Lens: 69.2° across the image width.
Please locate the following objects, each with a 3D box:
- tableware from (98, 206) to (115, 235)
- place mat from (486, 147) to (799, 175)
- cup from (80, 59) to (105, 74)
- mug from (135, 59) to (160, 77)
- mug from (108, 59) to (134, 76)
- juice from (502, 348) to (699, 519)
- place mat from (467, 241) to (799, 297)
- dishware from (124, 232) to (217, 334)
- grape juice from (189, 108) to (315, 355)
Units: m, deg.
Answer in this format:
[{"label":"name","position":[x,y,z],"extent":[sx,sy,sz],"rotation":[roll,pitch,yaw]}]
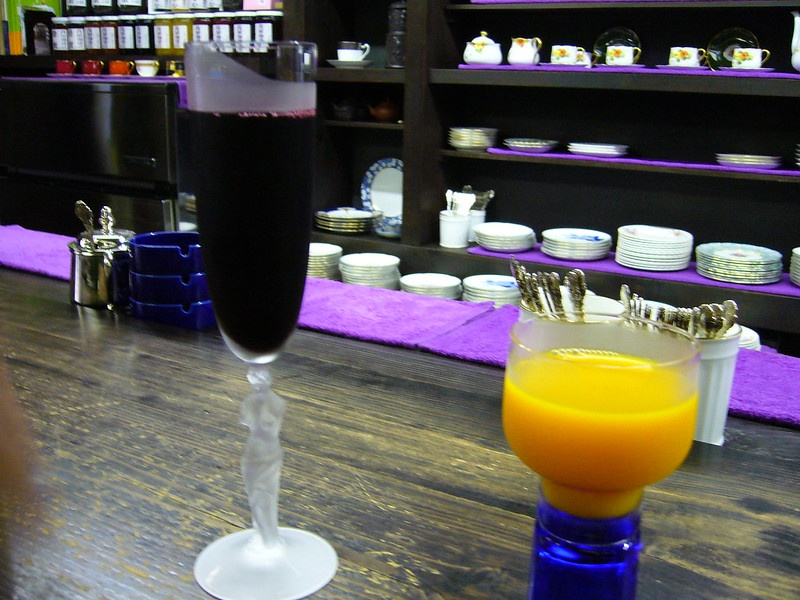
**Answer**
[{"label":"tableware","position":[-0.635,-0.171,1.250],"extent":[0.027,0.060,0.068],"rotation":[-9,19,-26]},{"label":"place mat","position":[0.993,-0.597,2.506],"extent":[1.258,0.081,0.186],"rotation":[7,18,23]},{"label":"cup","position":[-1.826,-1.367,3.446],"extent":[0.142,0.087,0.098],"rotation":[1,10,-7]},{"label":"mug","position":[-1.395,-1.272,3.205],"extent":[0.124,0.066,0.097],"rotation":[9,27,14]},{"label":"mug","position":[-1.582,-1.308,3.308],"extent":[0.136,0.068,0.094],"rotation":[2,11,-9]},{"label":"juice","position":[0.149,0.093,0.463],"extent":[0.142,0.093,0.132],"rotation":[2,10,5]},{"label":"place mat","position":[1.063,-0.126,2.507],"extent":[1.127,0.062,0.287],"rotation":[7,17,21]},{"label":"dishware","position":[-0.454,-0.034,1.261],"extent":[0.252,0.203,0.296],"rotation":[-3,9,-21]},{"label":"grape juice","position":[-0.121,-0.053,0.507],"extent":[0.099,0.210,0.047],"rotation":[-5,19,-16]}]
